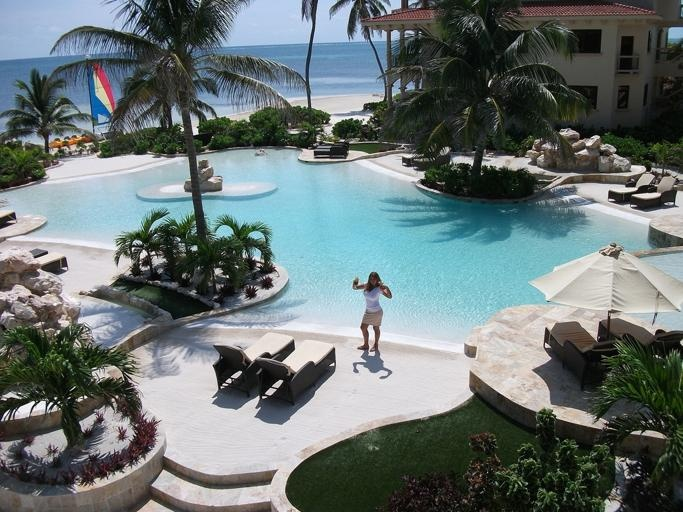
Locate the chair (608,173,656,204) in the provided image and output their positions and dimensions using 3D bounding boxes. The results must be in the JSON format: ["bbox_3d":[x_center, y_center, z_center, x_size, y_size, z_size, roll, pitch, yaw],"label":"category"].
[{"bbox_3d":[13.228,-3.062,21.228,2.444,1.383,1.191,-10,19,-20],"label":"chair"}]

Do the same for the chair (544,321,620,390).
[{"bbox_3d":[4.974,1.816,9.673,0.990,0.866,1.545,-9,23,-7],"label":"chair"}]

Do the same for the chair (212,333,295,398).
[{"bbox_3d":[-1.973,2.328,10.908,0.879,1.001,2.209,6,11,25],"label":"chair"}]

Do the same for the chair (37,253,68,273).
[{"bbox_3d":[-10.257,0.322,16.682,0.712,0.618,1.104,-7,17,-4],"label":"chair"}]

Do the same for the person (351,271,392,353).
[{"bbox_3d":[0.732,1.347,11.549,0.886,2.066,0.726,-6,18,-1],"label":"person"}]

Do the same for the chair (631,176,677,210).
[{"bbox_3d":[13.607,-2.845,20.679,2.834,1.581,0.972,-9,17,-20],"label":"chair"}]

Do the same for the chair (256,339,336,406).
[{"bbox_3d":[-1.023,2.489,10.369,0.980,0.984,1.718,4,19,29],"label":"chair"}]
